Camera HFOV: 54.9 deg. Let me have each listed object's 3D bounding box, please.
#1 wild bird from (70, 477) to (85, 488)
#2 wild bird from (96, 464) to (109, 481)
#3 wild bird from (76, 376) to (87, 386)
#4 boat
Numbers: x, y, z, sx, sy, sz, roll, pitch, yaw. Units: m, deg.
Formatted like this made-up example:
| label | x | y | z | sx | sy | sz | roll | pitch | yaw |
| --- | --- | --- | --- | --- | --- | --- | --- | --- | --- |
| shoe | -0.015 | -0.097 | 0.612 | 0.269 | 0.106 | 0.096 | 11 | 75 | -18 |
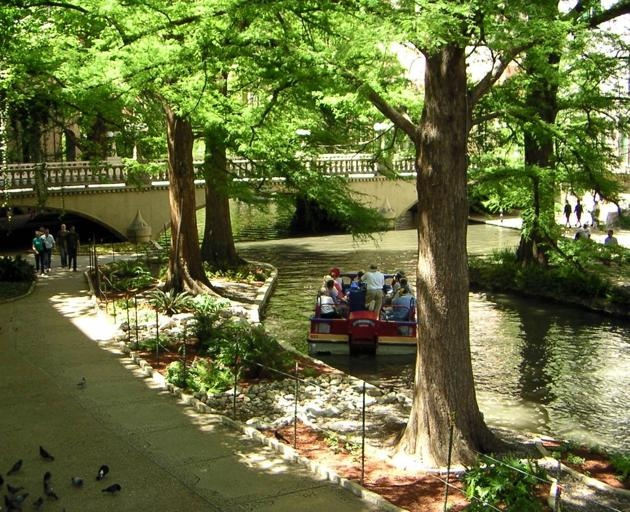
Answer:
| label | x | y | z | sx | sy | sz | roll | pitch | yaw |
| --- | --- | --- | --- | --- | --- | --- | --- | --- | --- |
| wild bird | -3.058 | 2.917 | 7.843 | 0.101 | 0.071 | 0.186 | 4 | 3 | -18 |
| wild bird | -2.800 | 2.845 | 8.044 | 0.159 | 0.223 | 0.284 | -3 | 5 | -21 |
| wild bird | -4.495 | 2.430 | 11.717 | 0.151 | 0.207 | 0.321 | 1 | -2 | -9 |
| boat | 1.313 | 1.641 | 16.641 | 1.801 | 1.113 | 3.283 | 0 | 12 | 4 |
